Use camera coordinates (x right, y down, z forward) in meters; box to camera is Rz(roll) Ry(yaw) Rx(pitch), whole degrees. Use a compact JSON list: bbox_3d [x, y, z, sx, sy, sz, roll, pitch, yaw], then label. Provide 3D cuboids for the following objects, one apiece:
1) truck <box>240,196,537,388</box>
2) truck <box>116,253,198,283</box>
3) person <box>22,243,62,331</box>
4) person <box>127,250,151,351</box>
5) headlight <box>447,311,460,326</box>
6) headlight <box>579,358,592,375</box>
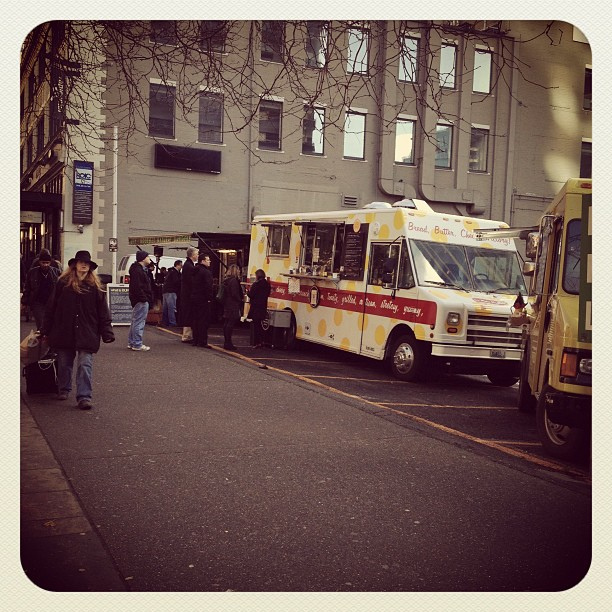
[{"bbox_3d":[1.759,-0.343,14.959,3.106,2.929,5.672,1,1,-28],"label":"truck"},{"bbox_3d":[-4.001,-0.978,19.856,1.705,1.029,1.155,-1,4,-14],"label":"truck"},{"bbox_3d":[-4.328,-0.056,12.203,0.653,1.889,0.579,-2,24,-24],"label":"person"},{"bbox_3d":[-3.414,-0.097,15.155,0.449,1.991,0.680,2,3,-14],"label":"person"},{"bbox_3d":[2.422,0.224,12.159,0.228,0.220,0.044,2,3,-24],"label":"headlight"},{"bbox_3d":[2.696,0.585,7.129,0.082,0.139,0.044,3,-4,19],"label":"headlight"}]
